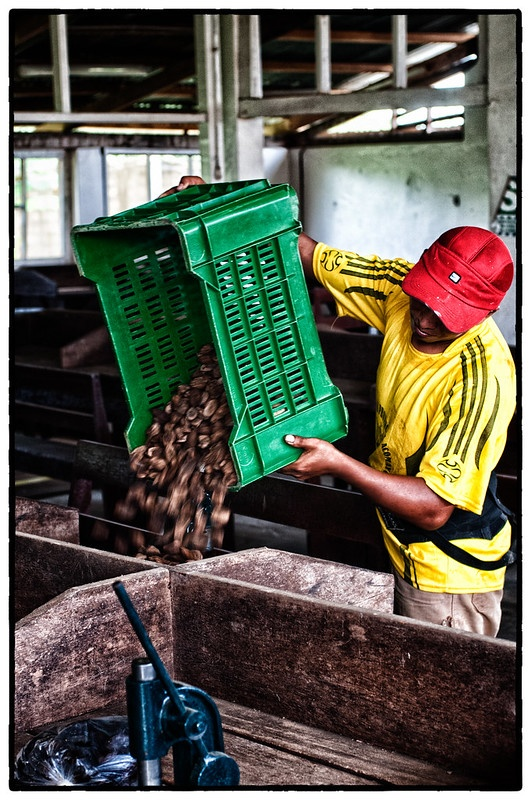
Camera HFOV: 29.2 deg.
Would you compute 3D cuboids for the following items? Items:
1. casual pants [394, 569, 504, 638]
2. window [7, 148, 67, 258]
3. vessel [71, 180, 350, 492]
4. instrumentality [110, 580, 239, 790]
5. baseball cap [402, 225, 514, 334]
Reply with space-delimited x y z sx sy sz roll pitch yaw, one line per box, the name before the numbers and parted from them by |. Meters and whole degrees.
casual pants | 0.526 0.553 3.018 0.231 0.325 0.278 -4 -7 -6
window | -2.799 -2.383 12.683 0.727 1.233 0.497 -7 16 -5
vessel | -0.143 -0.245 2.789 0.393 0.923 0.810 -27 16 -39
instrumentality | -0.179 0.570 1.983 0.199 0.521 0.196 -8 16 -4
baseball cap | 0.534 -0.318 2.825 0.255 0.169 0.345 42 52 10
